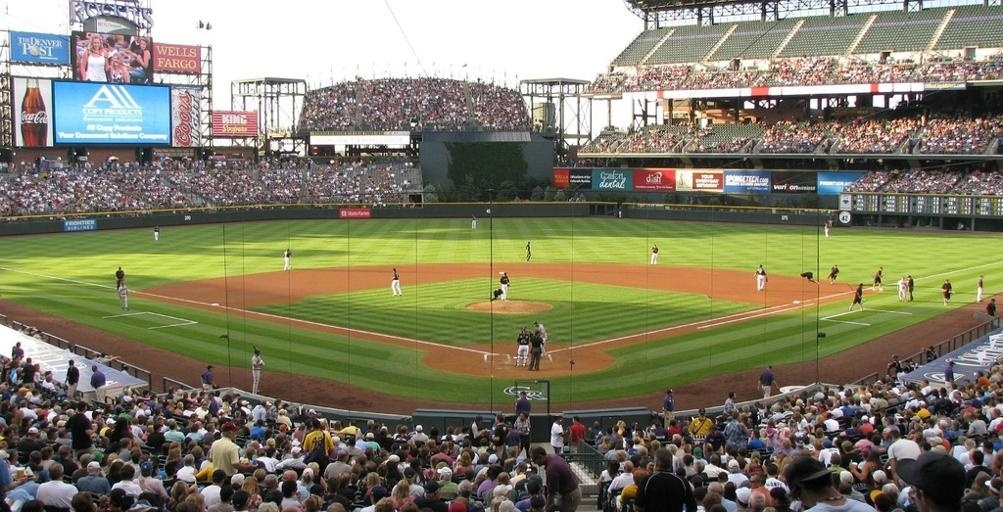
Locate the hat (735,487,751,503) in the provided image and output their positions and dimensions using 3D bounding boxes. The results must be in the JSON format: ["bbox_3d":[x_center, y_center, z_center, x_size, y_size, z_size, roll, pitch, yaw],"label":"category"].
[{"bbox_3d":[14.086,13.949,63.111,0.841,0.805,0.802,2,5,12],"label":"hat"}]

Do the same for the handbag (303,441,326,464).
[{"bbox_3d":[-11.504,12.094,66.640,1.625,1.304,0.810,5,-6,-17],"label":"handbag"}]

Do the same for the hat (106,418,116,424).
[{"bbox_3d":[-25.205,10.647,69.704,0.485,0.130,0.651,-1,0,-26],"label":"hat"}]

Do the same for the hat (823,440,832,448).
[{"bbox_3d":[20.176,11.624,67.001,0.574,0.163,0.540,-6,6,-36],"label":"hat"}]

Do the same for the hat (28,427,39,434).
[{"bbox_3d":[-28.890,10.767,66.729,0.491,0.195,0.319,9,5,15],"label":"hat"}]

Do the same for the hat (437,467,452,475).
[{"bbox_3d":[-3.432,13.084,65.605,0.930,0.591,0.506,-1,5,-14],"label":"hat"}]

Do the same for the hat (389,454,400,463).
[{"bbox_3d":[-6.611,12.354,65.855,0.566,0.510,0.766,1,5,6],"label":"hat"}]
